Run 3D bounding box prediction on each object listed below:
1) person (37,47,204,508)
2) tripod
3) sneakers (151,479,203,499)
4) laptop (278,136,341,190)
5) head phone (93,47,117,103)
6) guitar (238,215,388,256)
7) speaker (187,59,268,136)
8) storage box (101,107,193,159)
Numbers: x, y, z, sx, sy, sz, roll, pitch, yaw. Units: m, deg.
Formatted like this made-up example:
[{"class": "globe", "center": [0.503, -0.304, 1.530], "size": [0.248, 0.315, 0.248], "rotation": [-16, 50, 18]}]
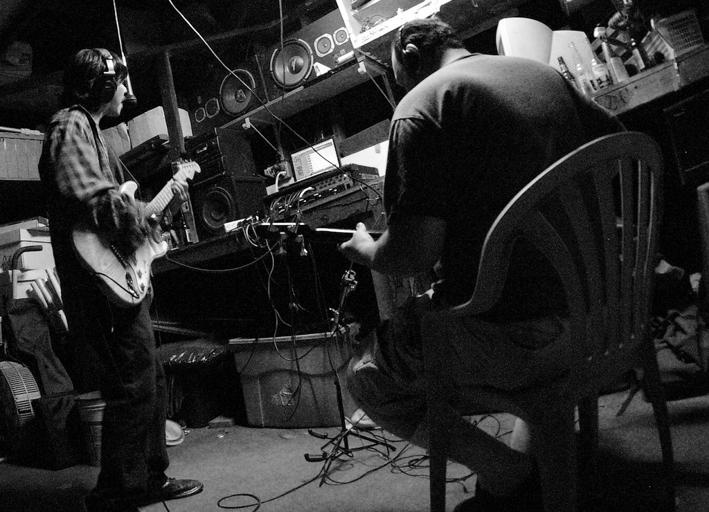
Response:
[{"class": "person", "center": [-1.102, 0.100, 2.782], "size": [0.490, 2.190, 0.352], "rotation": [-8, 1, -26]}, {"class": "tripod", "center": [-0.012, 0.909, 3.082], "size": [0.404, 0.488, 0.368], "rotation": [-4, -7, 5]}, {"class": "sneakers", "center": [-0.833, 1.094, 2.833], "size": [0.223, 0.092, 0.083], "rotation": [-5, 1, -20]}, {"class": "laptop", "center": [-0.319, -0.685, 4.482], "size": [0.448, 0.290, 0.048], "rotation": [-20, -18, 32]}, {"class": "head phone", "center": [-1.162, -0.871, 2.882], "size": [0.075, 0.201, 0.206], "rotation": [0, 11, -18]}, {"class": "guitar", "center": [-0.225, -0.118, 3.073], "size": [0.775, 0.108, 0.321], "rotation": [-1, -13, 8]}, {"class": "speaker", "center": [-1.035, -1.314, 5.044], "size": [0.733, 0.386, 0.267], "rotation": [-24, -13, 40]}, {"class": "storage box", "center": [-1.687, -1.012, 5.020], "size": [0.534, 0.267, 0.715], "rotation": [-23, 10, -37]}]
